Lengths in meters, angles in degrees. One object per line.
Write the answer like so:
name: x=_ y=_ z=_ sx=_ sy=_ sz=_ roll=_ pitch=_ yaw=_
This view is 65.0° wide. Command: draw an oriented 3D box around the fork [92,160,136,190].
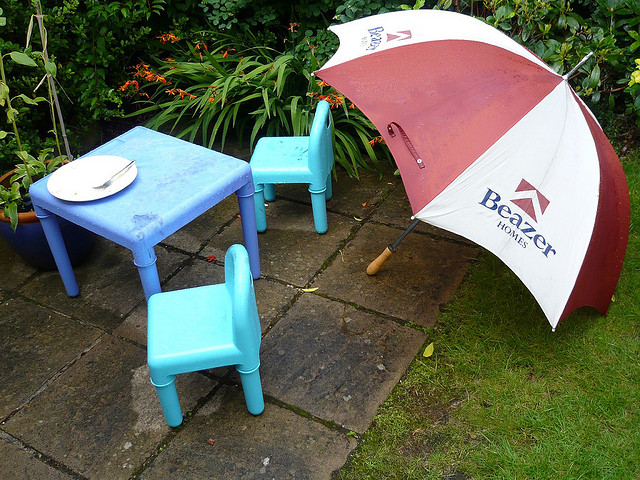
fork: x=-1.176 y=-0.366 z=2.879 sx=0.033 sy=0.032 sz=0.229 roll=35 pitch=56 yaw=7

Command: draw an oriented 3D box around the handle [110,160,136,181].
handle: x=-1.141 y=-0.402 z=2.904 sx=0.035 sy=0.010 sz=0.195 roll=46 pitch=59 yaw=4

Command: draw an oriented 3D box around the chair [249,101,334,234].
chair: x=-0.202 y=-0.565 z=3.738 sx=0.600 sy=0.918 sz=0.626 roll=2 pitch=38 yaw=1

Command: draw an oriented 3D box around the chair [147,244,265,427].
chair: x=-0.593 y=0.483 z=2.610 sx=0.573 sy=0.868 sz=0.523 roll=-7 pitch=39 yaw=-9
